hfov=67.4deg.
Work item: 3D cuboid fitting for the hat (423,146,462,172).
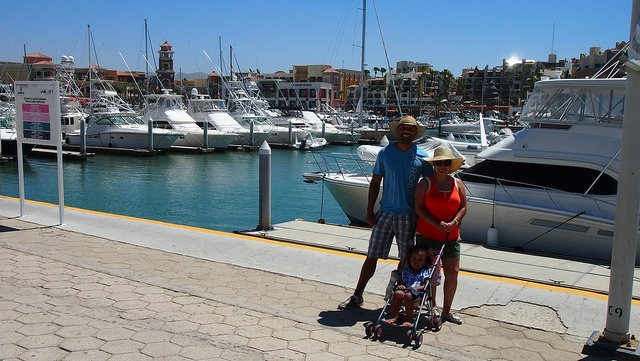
[{"bbox_3d":[1.858,-0.305,7.181,0.414,0.159,0.451,1,-13,5],"label":"hat"}]

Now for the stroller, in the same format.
[{"bbox_3d":[1.247,1.497,6.884,1.038,1.467,0.843,3,11,16],"label":"stroller"}]

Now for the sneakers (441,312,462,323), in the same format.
[{"bbox_3d":[1.954,2.021,7.134,0.325,0.114,0.119,5,9,16],"label":"sneakers"}]

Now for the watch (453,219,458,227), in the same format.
[{"bbox_3d":[1.974,0.608,6.986,0.026,0.069,0.070,-36,40,-6],"label":"watch"}]

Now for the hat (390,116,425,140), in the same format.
[{"bbox_3d":[1.354,-0.848,7.408,0.523,0.336,0.697,2,10,9],"label":"hat"}]

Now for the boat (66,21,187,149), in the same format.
[{"bbox_3d":[-16.580,-5.937,38.709,5.439,6.716,9.485,-9,13,-42],"label":"boat"}]
